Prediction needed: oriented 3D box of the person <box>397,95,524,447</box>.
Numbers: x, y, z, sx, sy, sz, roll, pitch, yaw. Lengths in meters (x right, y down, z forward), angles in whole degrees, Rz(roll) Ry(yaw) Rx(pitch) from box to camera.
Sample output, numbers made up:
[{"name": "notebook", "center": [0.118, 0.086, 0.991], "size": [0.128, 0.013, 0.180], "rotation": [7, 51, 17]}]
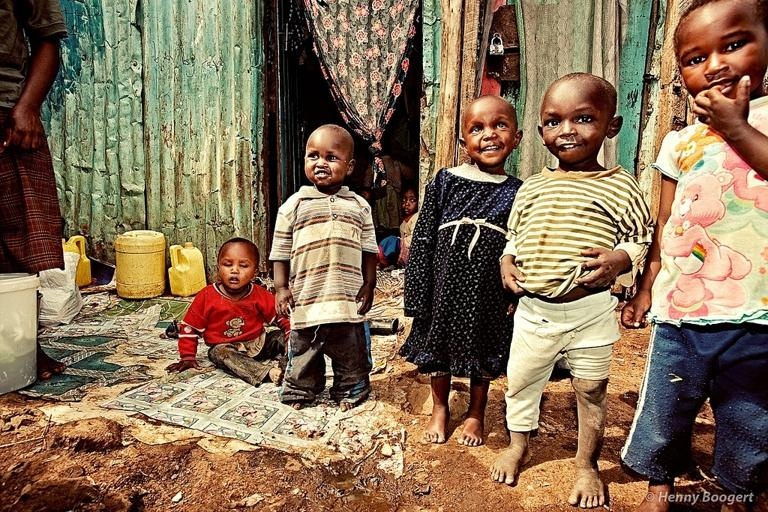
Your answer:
[{"name": "person", "center": [0.483, 0.150, 3.494], "size": [0.791, 2.067, 0.725], "rotation": [5, 6, 36]}]

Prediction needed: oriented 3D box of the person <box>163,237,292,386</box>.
[{"name": "person", "center": [-1.120, 0.360, 4.309], "size": [0.954, 1.416, 1.092], "rotation": [-2, 16, -2]}]

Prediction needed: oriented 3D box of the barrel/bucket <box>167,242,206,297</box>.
[{"name": "barrel/bucket", "center": [-2.120, 0.133, 5.766], "size": [0.276, 0.509, 0.385], "rotation": [3, 13, 23]}]

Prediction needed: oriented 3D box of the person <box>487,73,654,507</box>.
[{"name": "person", "center": [0.917, 0.193, 3.318], "size": [1.026, 2.255, 0.998], "rotation": [0, -2, 4]}]

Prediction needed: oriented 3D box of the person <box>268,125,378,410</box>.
[{"name": "person", "center": [-0.362, 0.110, 3.717], "size": [0.806, 1.868, 0.839], "rotation": [-2, -13, 1]}]
